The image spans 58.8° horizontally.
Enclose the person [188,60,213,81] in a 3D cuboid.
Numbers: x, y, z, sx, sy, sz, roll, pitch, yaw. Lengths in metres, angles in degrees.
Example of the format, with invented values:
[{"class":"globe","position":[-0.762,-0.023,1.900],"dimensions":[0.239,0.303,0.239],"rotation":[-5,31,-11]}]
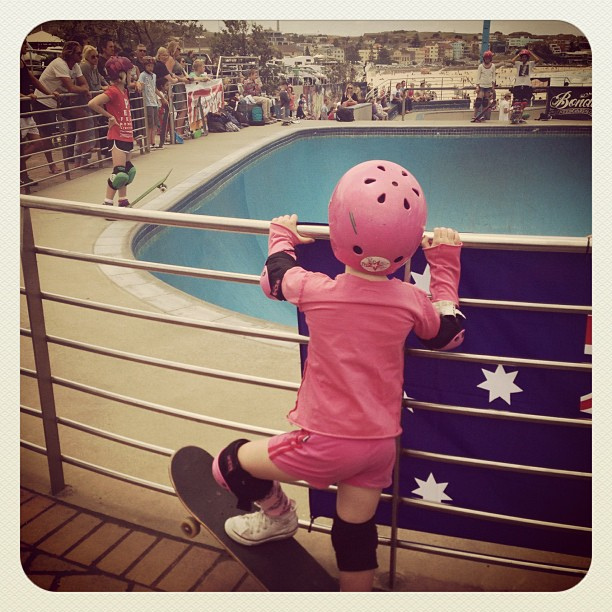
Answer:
[{"class":"person","position":[-2.388,-5.283,12.261],"dimensions":[0.445,0.575,1.263],"rotation":[-4,16,-10]}]

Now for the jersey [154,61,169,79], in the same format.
[{"class":"jersey","position":[-2.745,-4.437,10.449],"dimensions":[0.279,0.463,0.489],"rotation":[-2,28,-20]}]

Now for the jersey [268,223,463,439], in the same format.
[{"class":"jersey","position":[0.149,0.127,1.413],"dimensions":[0.415,0.414,0.232],"rotation":[-1,16,-2]}]

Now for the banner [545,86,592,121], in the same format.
[{"class":"banner","position":[7.935,-6.096,16.528],"dimensions":[1.303,0.941,1.868],"rotation":[7,18,24]}]

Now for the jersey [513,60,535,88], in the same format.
[{"class":"jersey","position":[5.091,-5.528,12.913],"dimensions":[0.622,0.589,0.164],"rotation":[0,11,-11]}]

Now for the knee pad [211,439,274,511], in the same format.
[{"class":"knee pad","position":[-0.193,0.487,1.589],"dimensions":[0.186,0.093,0.187],"rotation":[26,12,19]}]

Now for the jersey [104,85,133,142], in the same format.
[{"class":"jersey","position":[-2.209,-2.262,6.448],"dimensions":[0.316,0.629,0.317],"rotation":[-8,18,-24]}]

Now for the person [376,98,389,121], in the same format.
[{"class":"person","position":[2.794,-7.194,19.915],"dimensions":[0.456,0.767,0.678],"rotation":[1,16,8]}]

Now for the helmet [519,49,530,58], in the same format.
[{"class":"helmet","position":[4.715,-5.401,11.717],"dimensions":[0.127,0.165,0.151],"rotation":[0,28,9]}]

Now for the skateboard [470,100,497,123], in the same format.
[{"class":"skateboard","position":[5.605,-5.977,17.048],"dimensions":[0.335,0.406,1.418],"rotation":[27,-1,-1]}]

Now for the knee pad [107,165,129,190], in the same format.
[{"class":"knee pad","position":[-2.210,-1.485,6.444],"dimensions":[0.167,0.198,0.277],"rotation":[8,-6,-33]}]

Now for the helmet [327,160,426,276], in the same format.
[{"class":"helmet","position":[0.195,-0.238,1.463],"dimensions":[0.270,0.267,0.331],"rotation":[9,19,-3]}]

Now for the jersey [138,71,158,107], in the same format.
[{"class":"jersey","position":[-2.823,-3.911,9.874],"dimensions":[0.184,0.591,0.487],"rotation":[5,17,18]}]

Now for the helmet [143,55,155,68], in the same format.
[{"class":"helmet","position":[-2.827,-4.380,9.801],"dimensions":[0.179,0.226,0.302],"rotation":[-5,17,-15]}]

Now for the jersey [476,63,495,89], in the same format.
[{"class":"jersey","position":[4.362,-5.560,13.286],"dimensions":[0.619,0.632,0.369],"rotation":[6,15,12]}]

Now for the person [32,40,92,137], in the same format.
[{"class":"person","position":[-3.459,-3.056,7.697],"dimensions":[0.881,1.239,0.804],"rotation":[-10,19,-29]}]

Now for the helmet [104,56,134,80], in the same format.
[{"class":"helmet","position":[-2.180,-2.773,6.346],"dimensions":[0.248,0.282,0.496],"rotation":[-5,17,-13]}]

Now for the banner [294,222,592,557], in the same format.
[{"class":"banner","position":[0.408,0.231,1.546],"dimensions":[1.113,1.050,0.054],"rotation":[4,16,10]}]

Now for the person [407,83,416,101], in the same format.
[{"class":"person","position":[4.036,-8.156,20.830],"dimensions":[0.327,0.541,1.097],"rotation":[3,16,12]}]

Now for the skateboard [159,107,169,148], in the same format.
[{"class":"skateboard","position":[-2.939,-3.708,11.301],"dimensions":[0.099,0.823,0.094],"rotation":[10,-10,-4]}]

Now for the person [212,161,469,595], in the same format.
[{"class":"person","position":[0.116,0.314,1.568],"dimensions":[0.765,1.406,0.441],"rotation":[-4,17,-11]}]

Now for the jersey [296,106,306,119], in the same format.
[{"class":"jersey","position":[-0.181,-6.644,18.785],"dimensions":[0.248,0.402,0.515],"rotation":[1,16,6]}]
